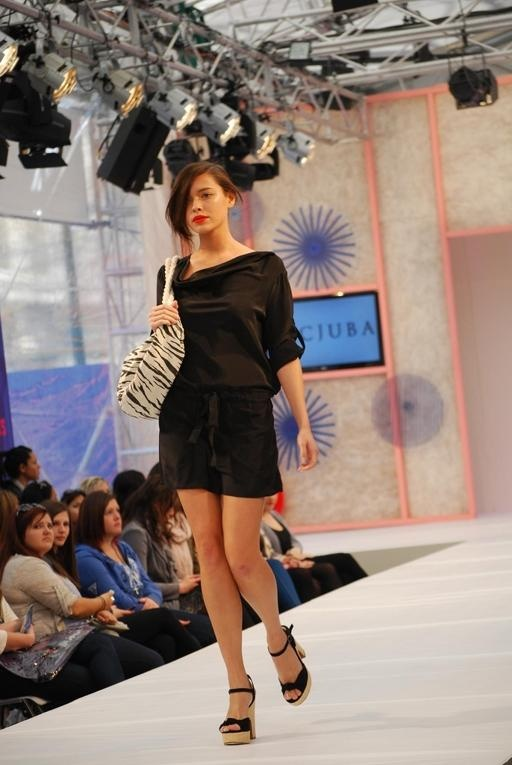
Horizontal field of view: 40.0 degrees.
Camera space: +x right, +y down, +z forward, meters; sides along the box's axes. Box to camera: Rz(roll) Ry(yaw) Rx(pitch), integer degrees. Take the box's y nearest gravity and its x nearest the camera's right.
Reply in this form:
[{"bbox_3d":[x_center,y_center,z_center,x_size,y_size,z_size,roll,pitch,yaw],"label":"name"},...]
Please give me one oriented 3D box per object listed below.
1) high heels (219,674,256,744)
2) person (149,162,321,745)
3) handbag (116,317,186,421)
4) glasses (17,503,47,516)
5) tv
[{"bbox_3d":[-0.035,0.620,1.323,0.073,0.093,0.122,-7,-9,-5],"label":"high heels"},{"bbox_3d":[-0.029,0.089,1.492,0.360,1.185,0.273,-7,-10,-9],"label":"person"},{"bbox_3d":[-0.224,-0.020,1.460,0.098,0.186,0.178,1,-12,-42],"label":"handbag"},{"bbox_3d":[-0.839,0.478,2.636,0.055,0.057,0.025,2,46,-2],"label":"glasses"},{"bbox_3d":[0.635,-0.368,5.268,0.942,0.628,0.088,-5,0,7],"label":"tv"}]
